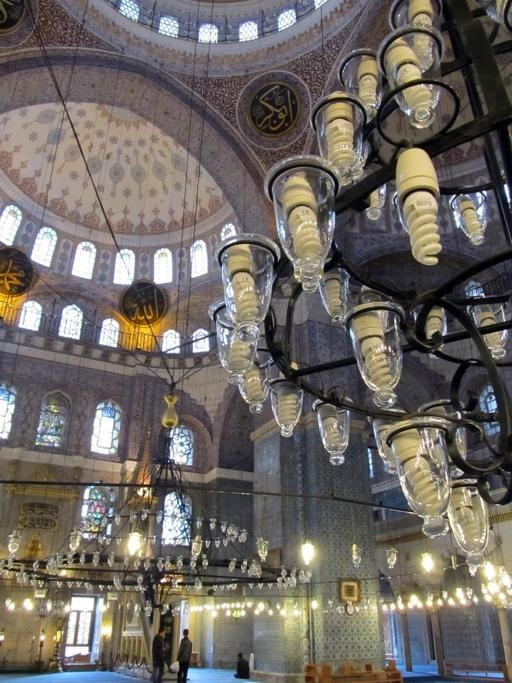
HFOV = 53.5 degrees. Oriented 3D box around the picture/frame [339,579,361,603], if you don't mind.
[{"bbox_3d":[1.518,4.107,8.344,0.352,0.344,0.048,12,-32,-21],"label":"picture/frame"}]
